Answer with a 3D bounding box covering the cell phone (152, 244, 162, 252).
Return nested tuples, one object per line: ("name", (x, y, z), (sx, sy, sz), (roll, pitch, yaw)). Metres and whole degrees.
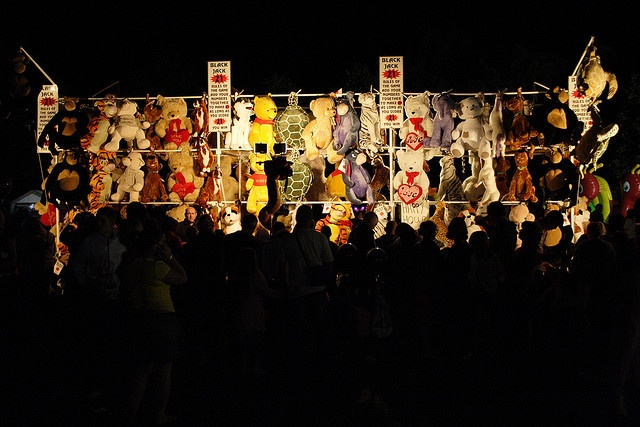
("cell phone", (-1.720, 0.364, 6.481), (0.079, 0.081, 0.019), (-4, -1, -8))
